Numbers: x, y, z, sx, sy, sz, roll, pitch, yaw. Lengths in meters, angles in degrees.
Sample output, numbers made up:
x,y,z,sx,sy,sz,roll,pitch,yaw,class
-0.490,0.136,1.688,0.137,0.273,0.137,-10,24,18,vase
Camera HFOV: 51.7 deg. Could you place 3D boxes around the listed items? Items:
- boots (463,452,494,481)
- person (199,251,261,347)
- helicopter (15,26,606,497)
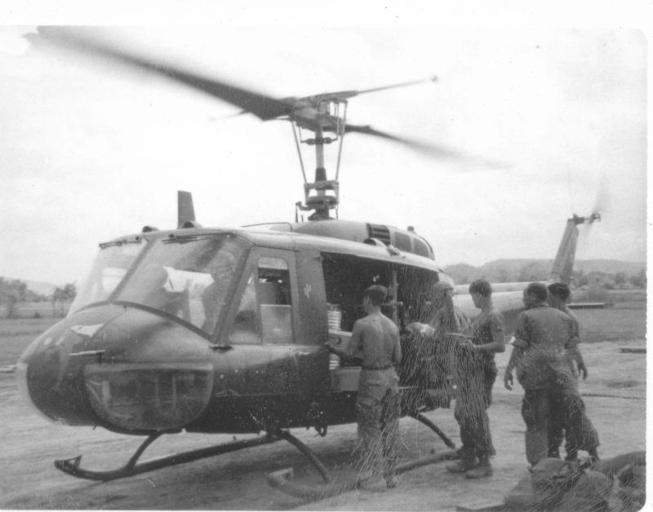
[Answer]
x,y,z,sx,sy,sz,roll,pitch,yaw,class
1.492,2.081,6.670,0.353,0.263,0.156,2,-6,1,boots
-0.742,0.349,5.630,0.440,0.730,0.175,2,-3,-37,person
-0.318,0.626,7.223,4.259,2.551,5.364,-8,-11,42,helicopter
